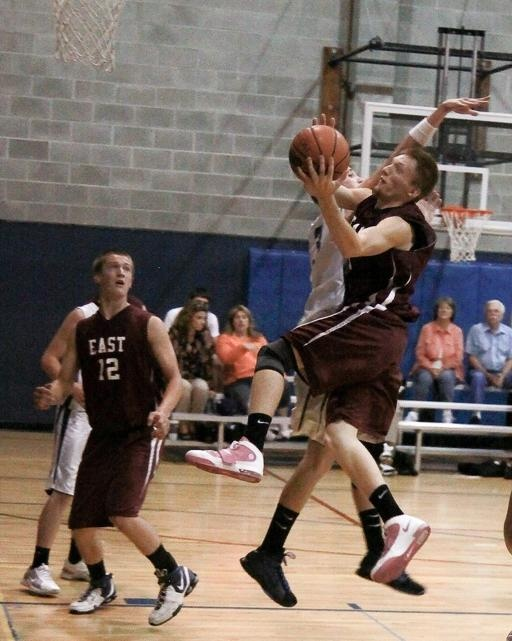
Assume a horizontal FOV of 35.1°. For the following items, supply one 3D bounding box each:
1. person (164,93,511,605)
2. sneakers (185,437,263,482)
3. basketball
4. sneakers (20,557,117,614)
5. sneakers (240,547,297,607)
[{"bbox_3d":[0.314,0.120,3.118,0.757,2.195,1.239,9,6,10],"label":"person"},{"bbox_3d":[-0.084,0.461,2.724,0.323,0.143,0.107,13,-25,-4],"label":"sneakers"},{"bbox_3d":[0.224,-0.578,2.761,0.231,0.187,0.214,-6,11,22],"label":"basketball"},{"bbox_3d":[-0.816,1.139,3.504,0.475,0.167,0.162,-1,-6,24],"label":"sneakers"},{"bbox_3d":[0.032,0.941,2.972,0.216,0.216,0.190,6,5,-5],"label":"sneakers"}]
